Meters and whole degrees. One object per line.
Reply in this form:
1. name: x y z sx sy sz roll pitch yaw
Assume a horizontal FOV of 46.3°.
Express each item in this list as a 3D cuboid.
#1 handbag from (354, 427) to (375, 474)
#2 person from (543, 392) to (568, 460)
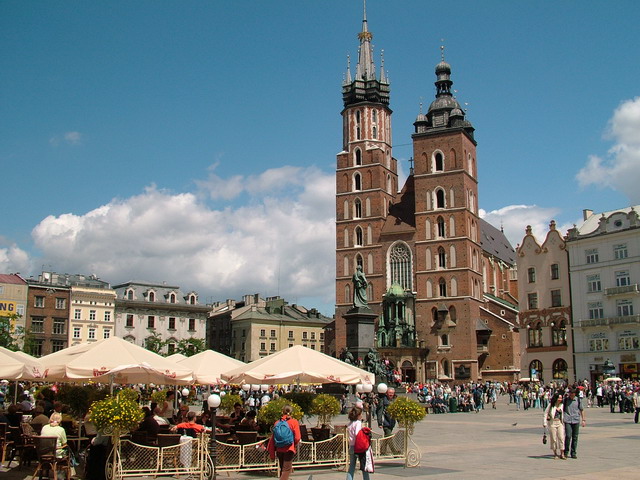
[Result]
1. handbag: 1.025 4.653 16.452 0.271 0.978 0.578 -10 -14 32
2. person: 6.683 5.247 21.073 0.566 1.776 1.035 -6 -13 17
